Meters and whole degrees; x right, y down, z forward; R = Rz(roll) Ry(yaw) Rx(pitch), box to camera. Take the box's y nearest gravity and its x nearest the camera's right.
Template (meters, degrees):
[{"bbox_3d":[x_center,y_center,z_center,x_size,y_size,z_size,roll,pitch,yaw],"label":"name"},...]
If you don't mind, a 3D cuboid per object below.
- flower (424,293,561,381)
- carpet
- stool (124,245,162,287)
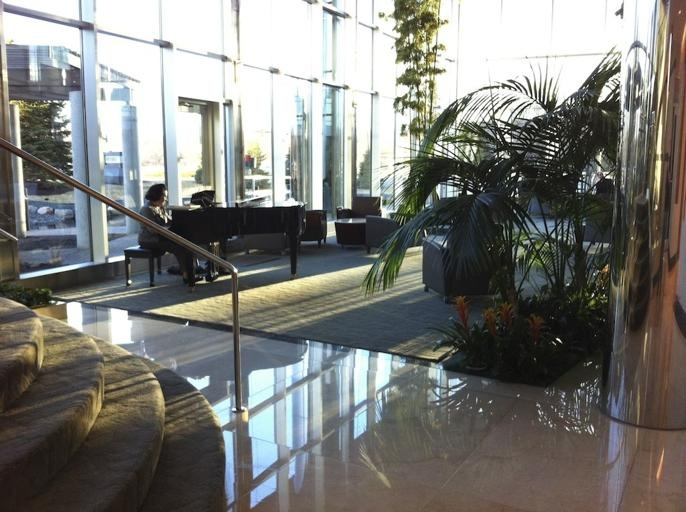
[{"bbox_3d":[1.361,0.589,4.875,0.693,0.413,0.828,2,4,-4],"label":"flower"},{"bbox_3d":[-0.523,0.371,7.704,5.058,0.293,4.445,6,12,31],"label":"carpet"},{"bbox_3d":[-2.970,0.034,8.263,0.529,0.795,0.715,2,5,1],"label":"stool"}]
